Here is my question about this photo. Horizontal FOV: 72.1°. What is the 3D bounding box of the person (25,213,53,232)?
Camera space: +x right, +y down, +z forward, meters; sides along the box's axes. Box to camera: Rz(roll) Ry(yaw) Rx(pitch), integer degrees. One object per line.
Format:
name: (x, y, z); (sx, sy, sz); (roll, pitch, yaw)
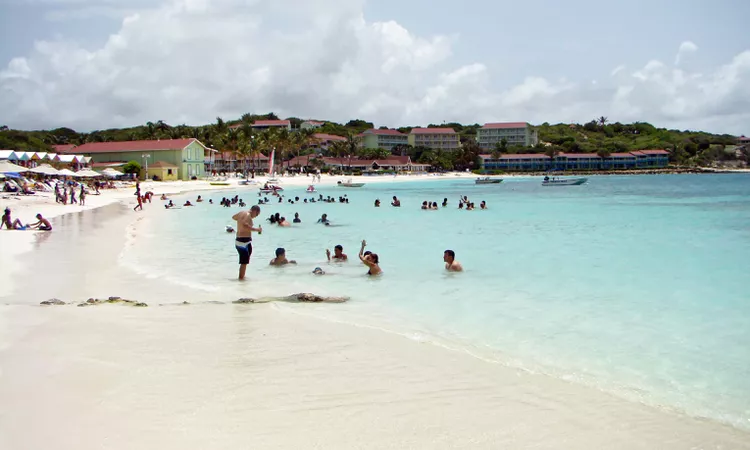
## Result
person: (-17.463, -0.101, 26.738); (1.286, 0.460, 0.936); (4, -32, -8)

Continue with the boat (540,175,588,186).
boat: (35.508, -8.355, 97.763); (6.640, 1.514, 11.797); (7, 12, 19)

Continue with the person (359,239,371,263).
person: (-0.409, 1.025, 19.838); (0.321, 0.426, 0.905); (-14, -1, 2)

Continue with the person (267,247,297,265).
person: (-3.436, 1.158, 18.833); (0.771, 0.391, 0.703); (-2, 5, -17)

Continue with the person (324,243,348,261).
person: (-1.436, 1.113, 19.795); (0.606, 0.448, 0.849); (-1, -5, 21)

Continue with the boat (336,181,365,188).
boat: (-4.433, -6.989, 86.605); (5.247, 0.875, 1.746); (0, -1, 10)

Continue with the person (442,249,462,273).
person: (2.755, 1.272, 18.579); (0.854, 0.811, 0.660); (7, 10, 23)

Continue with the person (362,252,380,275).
person: (-0.110, 1.309, 17.690); (0.642, 0.677, 1.095); (3, 12, 0)
